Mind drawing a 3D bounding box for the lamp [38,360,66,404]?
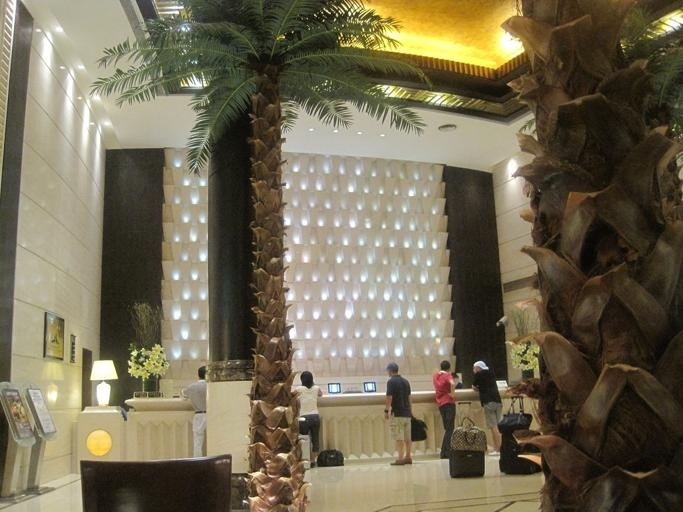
[{"bbox_3d":[-4.396,1.944,9.004,0.189,0.663,1.005,1,-14,-19],"label":"lamp"}]

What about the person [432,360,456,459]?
[{"bbox_3d":[1.637,2.446,9.319,0.307,1.550,0.862,-5,-12,8],"label":"person"}]

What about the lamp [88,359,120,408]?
[{"bbox_3d":[-4.418,2.332,10.915,0.438,0.891,2.331,2,-14,-22],"label":"lamp"}]

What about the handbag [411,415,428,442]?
[{"bbox_3d":[1.187,2.719,9.206,0.202,0.349,0.516,-6,-13,10],"label":"handbag"}]

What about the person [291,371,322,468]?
[{"bbox_3d":[-0.491,2.518,8.978,0.332,1.405,0.896,-4,-12,4],"label":"person"}]

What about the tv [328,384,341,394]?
[{"bbox_3d":[-0.144,2.411,10.609,0.292,0.225,0.169,2,-9,-10],"label":"tv"}]

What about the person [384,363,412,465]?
[{"bbox_3d":[0.819,2.327,8.575,0.386,1.467,0.662,-4,-12,3],"label":"person"}]

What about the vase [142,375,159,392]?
[{"bbox_3d":[-2.817,1.913,8.785,0.204,0.254,0.215,-2,-5,21],"label":"vase"}]

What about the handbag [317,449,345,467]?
[{"bbox_3d":[-0.189,3.143,9.065,0.266,0.175,0.273,-1,-13,4],"label":"handbag"}]

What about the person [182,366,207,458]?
[{"bbox_3d":[-1.878,1.985,7.496,0.293,1.141,0.958,0,-13,-14],"label":"person"}]

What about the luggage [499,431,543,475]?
[{"bbox_3d":[2.091,2.388,7.078,0.439,0.528,0.508,-7,-13,13],"label":"luggage"}]

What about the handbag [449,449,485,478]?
[{"bbox_3d":[1.450,2.441,7.065,0.466,0.459,0.294,2,-8,-3],"label":"handbag"}]
